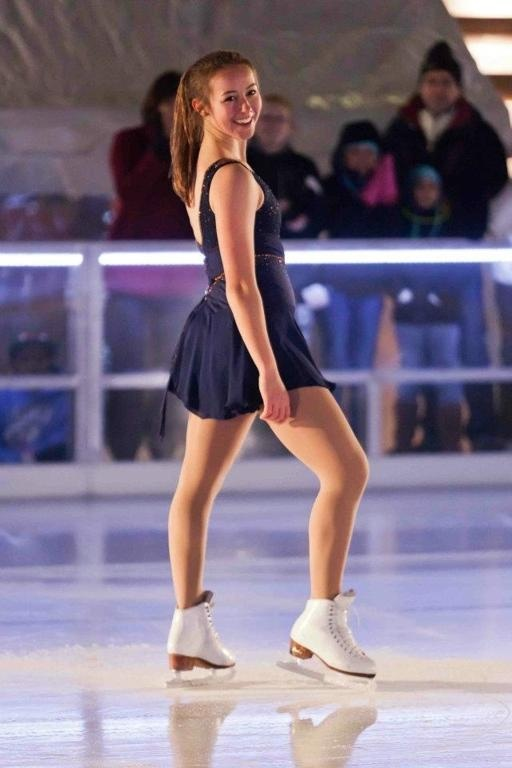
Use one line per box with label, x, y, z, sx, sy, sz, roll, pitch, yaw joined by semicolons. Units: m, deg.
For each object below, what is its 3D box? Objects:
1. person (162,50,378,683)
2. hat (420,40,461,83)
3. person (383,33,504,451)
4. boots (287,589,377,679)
person;0.022;-0.034;2.118;0.445;1.323;0.285;0;4;2
hat;0.910;-1.596;4.994;0.213;0.185;0.208;-2;1;1
person;0.965;-0.672;5.051;0.570;2.015;0.226;-2;4;-19
boots;0.178;0.519;2.073;0.230;0.154;0.083;7;-5;44
